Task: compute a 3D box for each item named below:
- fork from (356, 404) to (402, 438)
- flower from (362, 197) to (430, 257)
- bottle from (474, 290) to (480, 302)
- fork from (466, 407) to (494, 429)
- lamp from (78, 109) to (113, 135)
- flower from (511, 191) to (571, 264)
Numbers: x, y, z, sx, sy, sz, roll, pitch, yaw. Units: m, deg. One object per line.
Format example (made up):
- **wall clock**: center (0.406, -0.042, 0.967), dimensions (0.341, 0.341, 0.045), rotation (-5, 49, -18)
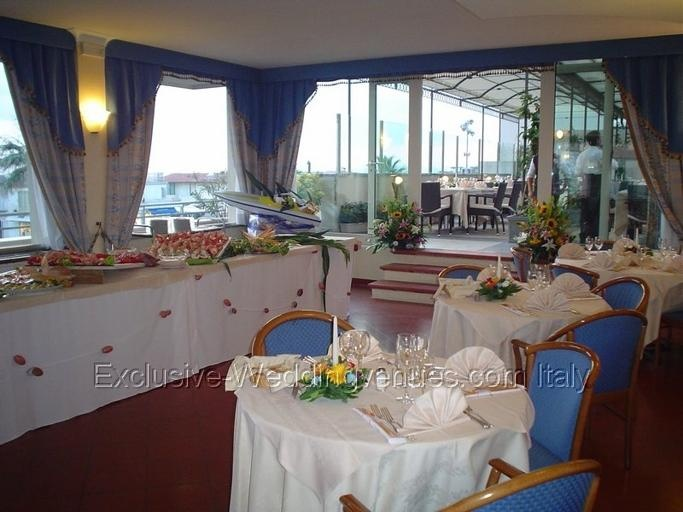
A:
- **fork**: center (0.169, 0.692, 1.989), dimensions (0.075, 0.028, 0.133), rotation (2, 15, -30)
- **flower**: center (0.979, -0.519, 7.932), dimensions (0.842, 0.944, 0.799), rotation (1, 14, 7)
- **bottle**: center (1.039, 0.307, 3.635), dimensions (0.050, 0.087, 0.050), rotation (-2, 21, 1)
- **fork**: center (0.584, 0.691, 2.036), dimensions (0.033, 0.020, 0.130), rotation (-9, 17, -15)
- **lamp**: center (-3.023, -1.663, 5.880), dimensions (0.283, 0.252, 0.266), rotation (-3, 14, -14)
- **flower**: center (2.354, -0.312, 5.941), dimensions (0.868, 1.077, 0.948), rotation (3, 7, 24)
